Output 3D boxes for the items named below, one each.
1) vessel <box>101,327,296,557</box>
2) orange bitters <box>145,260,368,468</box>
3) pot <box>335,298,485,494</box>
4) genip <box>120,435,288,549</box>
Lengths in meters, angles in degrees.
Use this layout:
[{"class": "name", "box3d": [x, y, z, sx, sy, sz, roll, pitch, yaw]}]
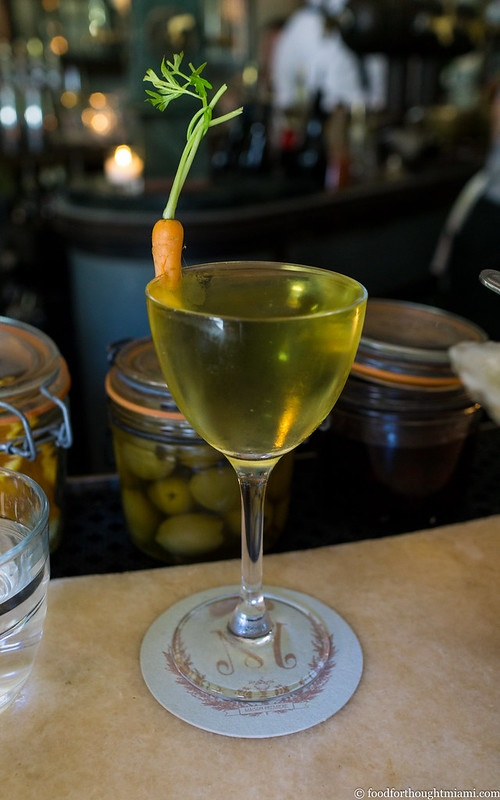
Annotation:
[{"class": "vessel", "box3d": [-0.033, 0.028, 0.523, 0.141, 0.136, 0.131, -4, 28, -10]}, {"class": "orange bitters", "box3d": [0.001, -0.015, 0.344, 0.104, 0.079, 0.102, -3, 24, -11]}, {"class": "pot", "box3d": [0.110, -0.002, 0.577, 0.124, 0.125, 0.132, 7, 24, -3]}, {"class": "genip", "box3d": [-0.033, 0.055, 0.523, 0.086, 0.065, 0.091, 1, 3, -15]}]
